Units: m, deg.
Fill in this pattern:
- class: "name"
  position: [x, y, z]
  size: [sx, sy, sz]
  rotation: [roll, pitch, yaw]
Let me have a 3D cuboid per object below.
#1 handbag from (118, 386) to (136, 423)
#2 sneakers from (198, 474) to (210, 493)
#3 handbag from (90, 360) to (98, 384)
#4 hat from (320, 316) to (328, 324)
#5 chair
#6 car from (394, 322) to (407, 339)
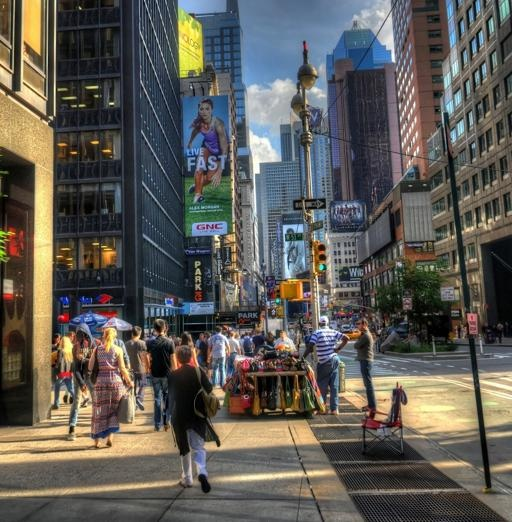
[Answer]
- class: "handbag"
  position: [-2.149, 2.432, 9.481]
  size: [0.218, 0.632, 1.022]
  rotation: [-2, -7, -11]
- class: "sneakers"
  position: [-0.583, 2.471, 6.362]
  size: [0.083, 0.264, 0.097]
  rotation: [-13, 22, 3]
- class: "handbag"
  position: [-2.653, 1.823, 9.367]
  size: [0.108, 0.361, 0.485]
  rotation: [-2, -7, -19]
- class: "hat"
  position: [1.493, 1.285, 12.484]
  size: [0.113, 0.110, 0.185]
  rotation: [1, -9, 0]
- class: "chair"
  position: [1.903, 2.363, 8.524]
  size: [0.545, 1.036, 0.557]
  rotation: [2, -11, 5]
- class: "car"
  position: [13.248, 6.246, 51.676]
  size: [1.746, 1.281, 1.124]
  rotation: [-4, 2, -6]
